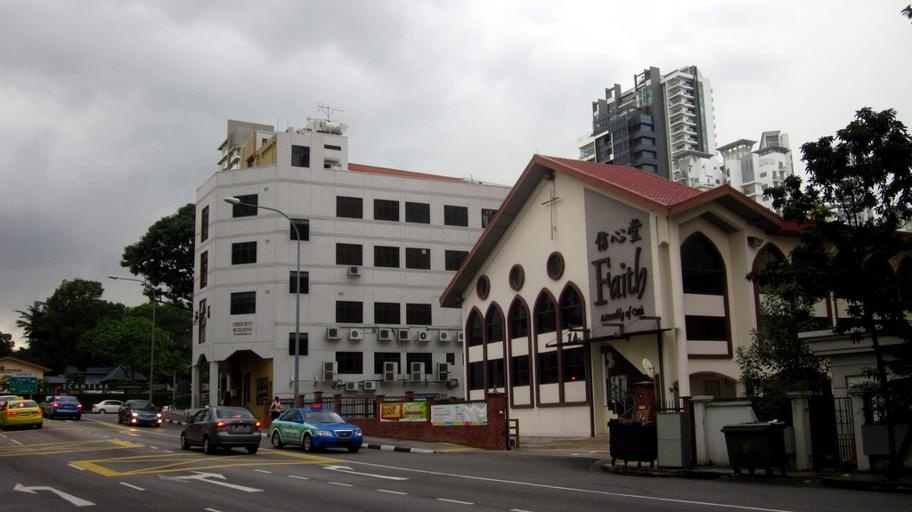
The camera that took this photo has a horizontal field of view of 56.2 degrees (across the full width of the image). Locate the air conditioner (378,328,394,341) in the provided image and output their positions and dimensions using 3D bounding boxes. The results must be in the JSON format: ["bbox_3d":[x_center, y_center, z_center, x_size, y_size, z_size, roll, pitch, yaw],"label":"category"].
[{"bbox_3d":[-6.281,7.008,75.381,1.172,1.146,0.867,-2,-2,-14],"label":"air conditioner"}]

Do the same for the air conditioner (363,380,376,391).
[{"bbox_3d":[-7.611,11.477,74.817,0.824,1.030,1.521,-2,-6,19],"label":"air conditioner"}]

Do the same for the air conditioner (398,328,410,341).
[{"bbox_3d":[-4.792,7.049,75.774,1.007,0.898,0.526,4,-12,-25],"label":"air conditioner"}]

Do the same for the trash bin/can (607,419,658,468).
[{"bbox_3d":[8.421,9.130,41.224,2.504,2.102,1.429,0,0,14],"label":"trash bin/can"}]

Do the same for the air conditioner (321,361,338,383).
[{"bbox_3d":[-10.916,9.903,73.309,1.291,1.740,0.552,5,-18,-13],"label":"air conditioner"}]

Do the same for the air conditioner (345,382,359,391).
[{"bbox_3d":[-9.063,11.458,74.072,1.291,0.875,0.695,5,-13,-29],"label":"air conditioner"}]

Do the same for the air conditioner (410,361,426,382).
[{"bbox_3d":[-3.646,10.412,76.090,1.558,2.091,1.554,4,-13,-25],"label":"air conditioner"}]

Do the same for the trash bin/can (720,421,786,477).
[{"bbox_3d":[13.635,8.867,39.686,1.952,2.635,2.298,1,-1,-6],"label":"trash bin/can"}]

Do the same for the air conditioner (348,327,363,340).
[{"bbox_3d":[-8.856,6.848,74.702,0.716,1.069,1.288,-13,-23,39],"label":"air conditioner"}]

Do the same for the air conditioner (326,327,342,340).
[{"bbox_3d":[-10.770,6.762,74.077,1.711,1.427,0.925,4,-11,-30],"label":"air conditioner"}]
